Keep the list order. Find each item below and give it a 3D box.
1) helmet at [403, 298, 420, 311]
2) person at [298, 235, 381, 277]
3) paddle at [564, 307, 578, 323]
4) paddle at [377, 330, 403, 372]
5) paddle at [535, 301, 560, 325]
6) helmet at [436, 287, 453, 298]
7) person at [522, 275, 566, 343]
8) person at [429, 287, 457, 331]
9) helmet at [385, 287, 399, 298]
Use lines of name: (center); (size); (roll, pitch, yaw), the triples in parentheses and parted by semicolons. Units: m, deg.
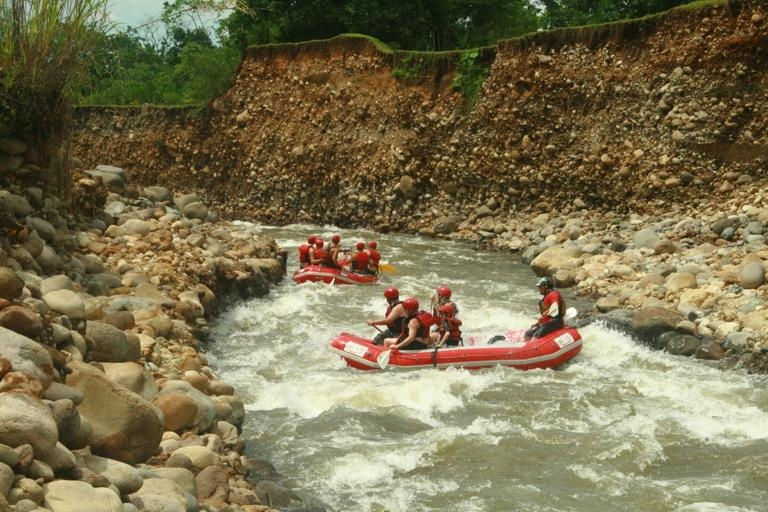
helmet: (0.669, 1.244, 21.899); (0.388, 0.318, 0.283); (32, 35, 18)
person: (-1.560, 0.069, 29.400); (1.583, 1.018, 2.497); (7, 8, 6)
paddle: (4.882, 1.586, 22.356); (0.347, 0.142, 0.988); (-17, -12, -1)
paddle: (0.102, 2.437, 21.612); (0.328, 0.115, 1.038); (18, 35, 14)
paddle: (4.244, 1.465, 21.753); (0.584, 0.187, 0.427); (-32, 18, 19)
helmet: (1.565, 0.932, 22.037); (0.367, 0.253, 0.282); (-6, 15, -23)
person: (4.203, 1.437, 22.135); (1.210, 1.686, 1.089); (-3, 5, 19)
person: (1.372, 1.294, 22.191); (0.754, 0.882, 0.410); (-4, 9, -40)
helmet: (0.181, 0.977, 22.371); (0.303, 0.215, 0.269); (5, 5, 29)
